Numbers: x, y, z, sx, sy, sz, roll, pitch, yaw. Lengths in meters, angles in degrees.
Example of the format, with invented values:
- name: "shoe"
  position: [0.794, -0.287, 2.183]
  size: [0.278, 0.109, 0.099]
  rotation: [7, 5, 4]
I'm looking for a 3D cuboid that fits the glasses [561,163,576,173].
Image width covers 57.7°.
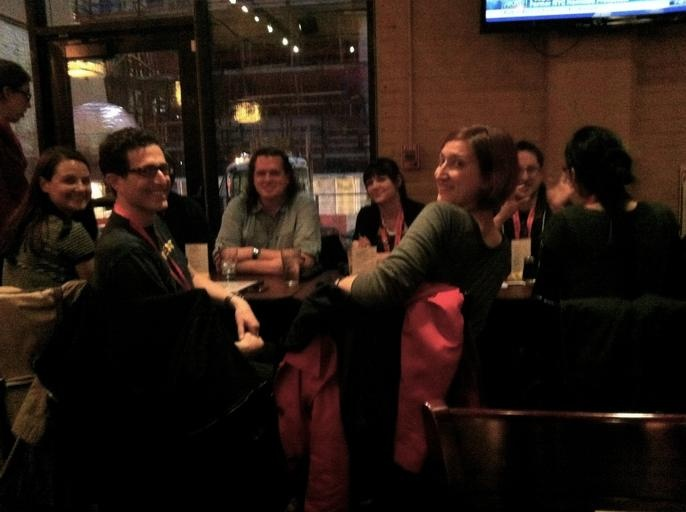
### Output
- name: "glasses"
  position: [0.744, -0.281, 2.039]
  size: [0.039, 0.041, 0.013]
  rotation: [8, 7, 23]

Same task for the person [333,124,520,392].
- name: "person"
  position: [0.274, -0.019, 1.968]
  size: [0.520, 0.760, 0.397]
  rotation: [2, 11, 17]

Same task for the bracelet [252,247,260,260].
- name: "bracelet"
  position: [-0.444, -0.012, 3.211]
  size: [0.036, 0.049, 0.023]
  rotation: [3, 3, 8]

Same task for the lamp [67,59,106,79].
- name: "lamp"
  position: [-1.859, -1.354, 4.516]
  size: [0.191, 0.063, 0.144]
  rotation: [5, 10, 23]

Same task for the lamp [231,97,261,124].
- name: "lamp"
  position: [-0.688, -1.047, 4.526]
  size: [0.212, 0.166, 0.038]
  rotation: [-7, 12, -28]
